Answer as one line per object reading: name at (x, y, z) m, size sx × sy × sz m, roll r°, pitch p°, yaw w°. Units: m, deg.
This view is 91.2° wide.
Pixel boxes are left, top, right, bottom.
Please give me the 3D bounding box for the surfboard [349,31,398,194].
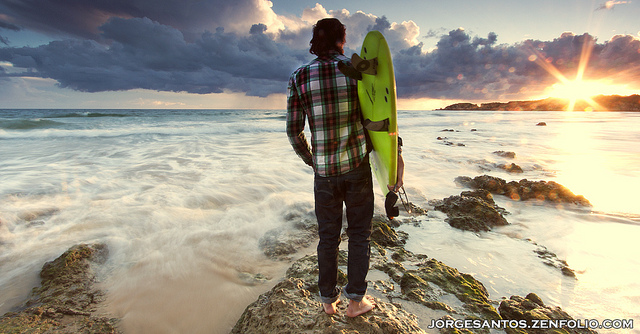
surfboard at (1.362, -1.310, 7.786) m, size 0.726 × 3.918 × 1.551 m, roll -10°, pitch 21°, yaw -25°
